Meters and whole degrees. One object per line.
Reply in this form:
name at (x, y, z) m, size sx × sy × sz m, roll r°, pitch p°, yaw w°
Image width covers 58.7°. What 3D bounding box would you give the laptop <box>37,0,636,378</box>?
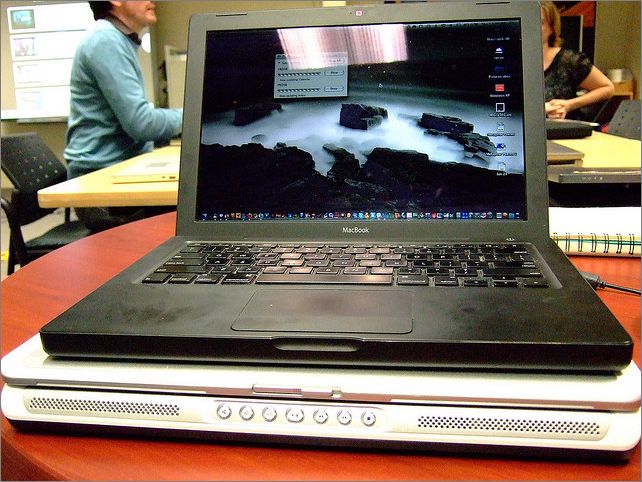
laptop at (0.042, -0.045, 0.644) m, size 0.469 × 0.287 × 0.427 m, roll 1°, pitch 13°, yaw 7°
